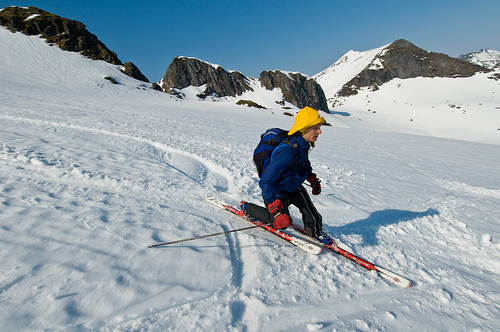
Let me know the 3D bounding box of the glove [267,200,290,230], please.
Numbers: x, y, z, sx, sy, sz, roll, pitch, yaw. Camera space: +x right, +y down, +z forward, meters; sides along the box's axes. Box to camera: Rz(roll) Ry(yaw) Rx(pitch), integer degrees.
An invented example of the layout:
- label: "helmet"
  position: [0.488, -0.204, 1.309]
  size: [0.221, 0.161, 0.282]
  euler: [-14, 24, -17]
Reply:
- label: "glove"
  position: [0.729, 1.181, 8.355]
  size: [0.595, 0.656, 0.305]
  euler: [-12, 0, 2]
